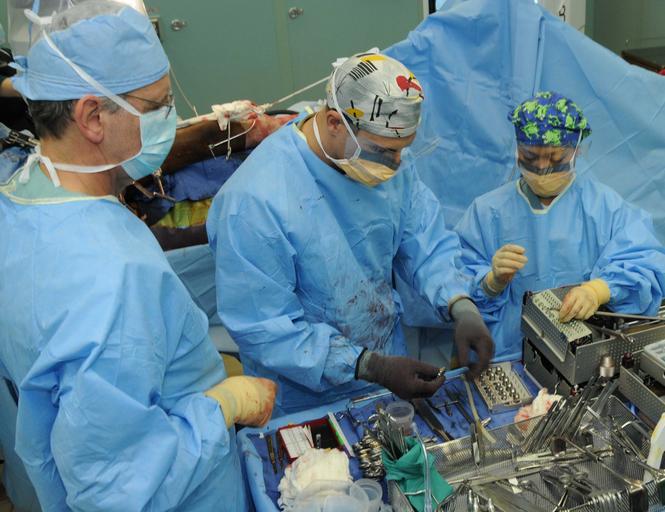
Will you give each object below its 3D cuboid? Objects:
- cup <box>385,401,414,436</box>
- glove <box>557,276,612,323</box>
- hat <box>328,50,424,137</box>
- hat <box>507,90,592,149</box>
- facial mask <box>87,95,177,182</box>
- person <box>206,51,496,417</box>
[{"bbox_3d":[0.222,0.530,2.195,0.075,0.079,0.093,-2,14,-3],"label":"cup"},{"bbox_3d":[0.935,0.177,2.427,0.299,0.097,0.102,-27,39,-35],"label":"glove"},{"bbox_3d":[0.139,-0.583,2.360,0.287,0.284,0.401,-12,32,-31],"label":"hat"},{"bbox_3d":[0.912,-0.548,2.775,0.335,0.263,0.348,1,2,-12],"label":"hat"},{"bbox_3d":[-0.566,-0.340,1.946,0.177,0.187,0.207,-8,31,-17],"label":"facial mask"},{"bbox_3d":[0.089,-0.002,2.544,0.837,1.601,0.974,-4,29,-6],"label":"person"}]
